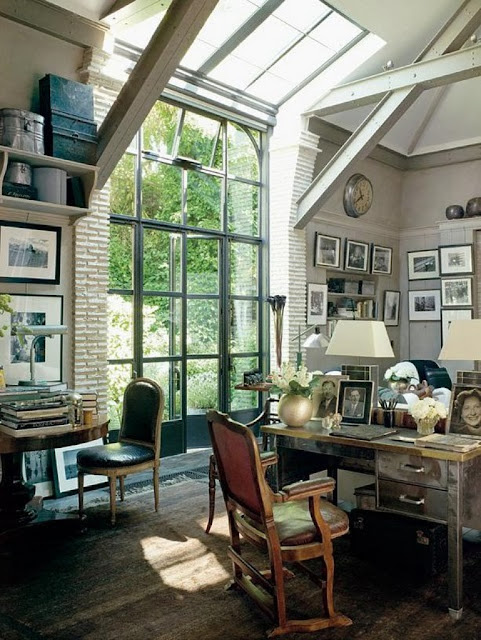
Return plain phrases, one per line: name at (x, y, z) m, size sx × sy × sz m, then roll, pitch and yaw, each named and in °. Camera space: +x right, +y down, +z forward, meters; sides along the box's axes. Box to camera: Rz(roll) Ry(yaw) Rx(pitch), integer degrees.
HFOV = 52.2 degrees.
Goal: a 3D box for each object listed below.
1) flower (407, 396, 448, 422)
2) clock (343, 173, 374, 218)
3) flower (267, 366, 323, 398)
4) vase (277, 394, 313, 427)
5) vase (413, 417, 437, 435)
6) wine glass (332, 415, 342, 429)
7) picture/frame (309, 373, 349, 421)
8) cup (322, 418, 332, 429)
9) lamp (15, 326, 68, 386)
flower at (1.014, 0.491, 2.717) m, size 0.159 × 0.111 × 0.150 m, roll -6°, pitch 9°, yaw -22°
clock at (1.897, -2.029, 8.033) m, size 0.150 × 0.751 × 0.759 m, roll -6°, pitch -7°, yaw 42°
flower at (0.310, 0.401, 3.163) m, size 0.244 × 0.160 × 0.239 m, roll 3°, pitch -10°, yaw -13°
vase at (0.338, 0.564, 3.089) m, size 0.208 × 0.186 × 0.204 m, roll 2°, pitch -6°, yaw -2°
vase at (1.020, 0.573, 2.725) m, size 0.101 × 0.084 × 0.114 m, roll -1°, pitch -2°, yaw 0°
wine glass at (0.591, 0.634, 3.044) m, size 0.066 × 0.082 × 0.070 m, roll 1°, pitch 0°, yaw 15°
picture/frame at (0.573, 0.498, 3.178) m, size 0.051 × 0.376 × 0.344 m, roll 1°, pitch 0°, yaw -37°
cup at (0.521, 0.625, 2.981) m, size 0.054 × 0.059 × 0.066 m, roll 0°, pitch -3°, yaw -2°
lamp at (-1.575, 0.276, 3.841) m, size 0.317 × 0.491 × 0.448 m, roll -10°, pitch -10°, yaw 33°
